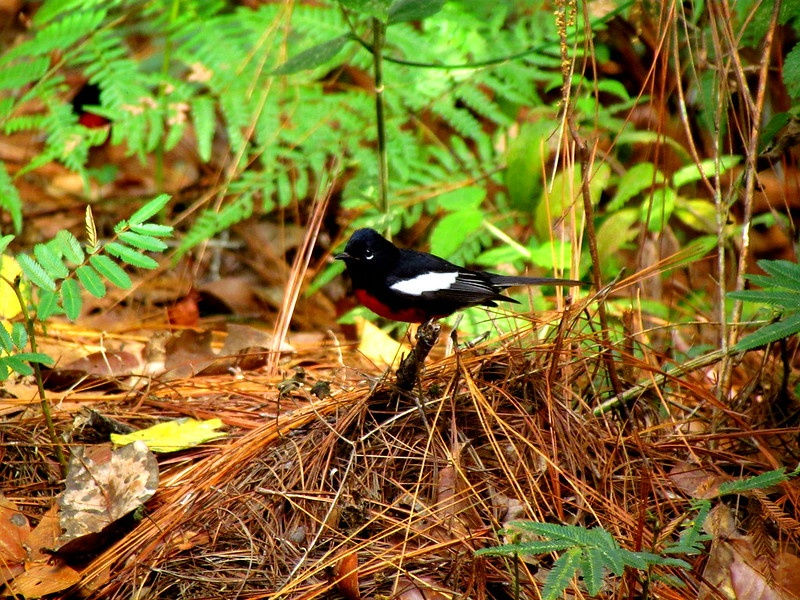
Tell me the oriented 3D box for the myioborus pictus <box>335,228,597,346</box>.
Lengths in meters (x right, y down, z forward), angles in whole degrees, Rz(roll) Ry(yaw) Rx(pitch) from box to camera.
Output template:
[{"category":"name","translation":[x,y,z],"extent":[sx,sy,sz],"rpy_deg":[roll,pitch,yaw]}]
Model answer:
[{"category":"myioborus pictus","translation":[0.343,-0.106,5.040],"extent":[1.496,0.563,0.397],"rpy_deg":[2,10,-13]}]
